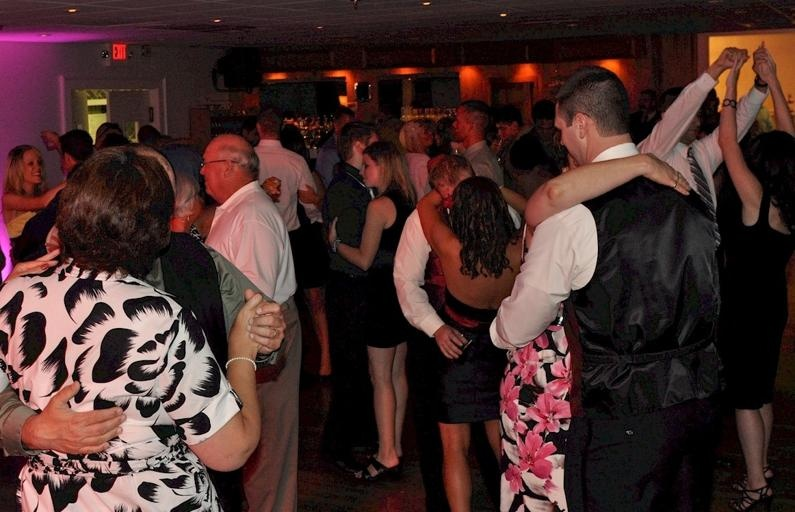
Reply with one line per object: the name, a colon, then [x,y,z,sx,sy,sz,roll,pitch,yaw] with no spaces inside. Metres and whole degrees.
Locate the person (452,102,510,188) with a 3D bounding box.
person: [0.689,-0.971,5.754,0.447,0.757,0.872,1,19,3]

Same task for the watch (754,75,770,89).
watch: [2.163,-1.044,3.925,0.071,0.079,0.033,-14,-10,40]

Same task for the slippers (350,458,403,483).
slippers: [-0.133,1.459,4.454,0.326,0.130,0.135,3,-10,-1]

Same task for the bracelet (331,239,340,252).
bracelet: [-0.441,-0.078,4.689,0.062,0.081,0.031,-4,-6,28]

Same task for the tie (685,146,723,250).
tie: [1.588,-0.153,3.348,0.106,0.086,0.879,-14,-33,20]
